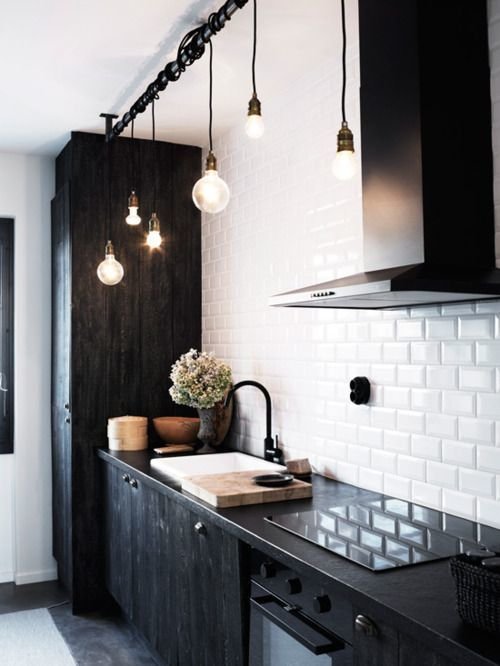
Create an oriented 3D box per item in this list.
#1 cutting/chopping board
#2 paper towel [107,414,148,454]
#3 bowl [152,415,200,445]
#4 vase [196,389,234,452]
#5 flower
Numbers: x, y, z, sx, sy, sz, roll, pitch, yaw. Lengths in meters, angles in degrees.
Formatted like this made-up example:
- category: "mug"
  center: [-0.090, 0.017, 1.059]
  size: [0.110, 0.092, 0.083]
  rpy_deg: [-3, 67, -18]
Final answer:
- category: "cutting/chopping board"
  center: [-0.012, 0.558, 2.197]
  size: [0.398, 0.040, 0.385]
  rpy_deg: [-1, -1, -27]
- category: "paper towel"
  center: [-0.673, 0.559, 3.350]
  size: [0.186, 0.139, 0.186]
  rpy_deg: [-2, -3, 39]
- category: "bowl"
  center: [-0.410, 0.565, 3.436]
  size: [0.238, 0.144, 0.177]
  rpy_deg: [-3, -2, 40]
- category: "vase"
  center: [-0.187, 0.462, 3.238]
  size: [0.124, 0.408, 0.321]
  rpy_deg: [6, -9, -15]
- category: "flower"
  center: [-0.266, 0.236, 3.280]
  size: [0.320, 0.357, 0.335]
  rpy_deg: [2, 5, -3]
